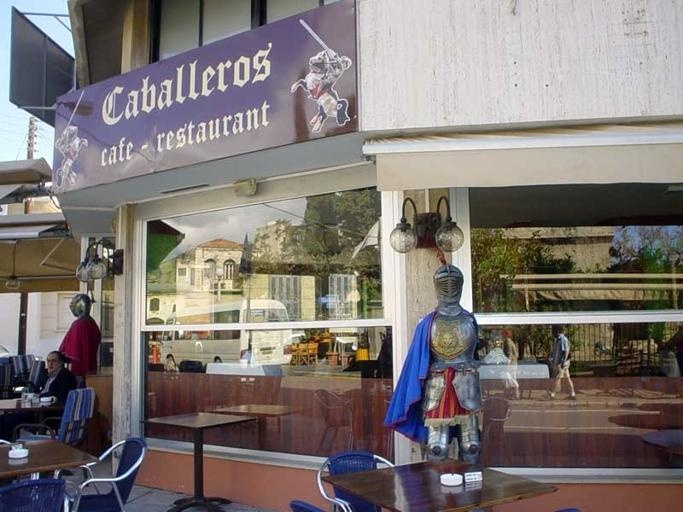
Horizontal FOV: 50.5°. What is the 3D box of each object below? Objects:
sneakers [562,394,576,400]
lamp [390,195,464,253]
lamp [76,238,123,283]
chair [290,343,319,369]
[{"bbox_3d":[2.284,1.414,7.259,0.117,0.084,0.041,2,-5,16],"label":"sneakers"},{"bbox_3d":[1.029,-0.321,7.435,0.365,0.559,0.683,-4,2,18],"label":"lamp"},{"bbox_3d":[-3.237,0.040,9.826,0.366,0.567,0.656,0,-2,-20],"label":"lamp"},{"bbox_3d":[-0.395,1.097,7.982,0.256,0.212,0.104,-2,-7,23],"label":"chair"}]
